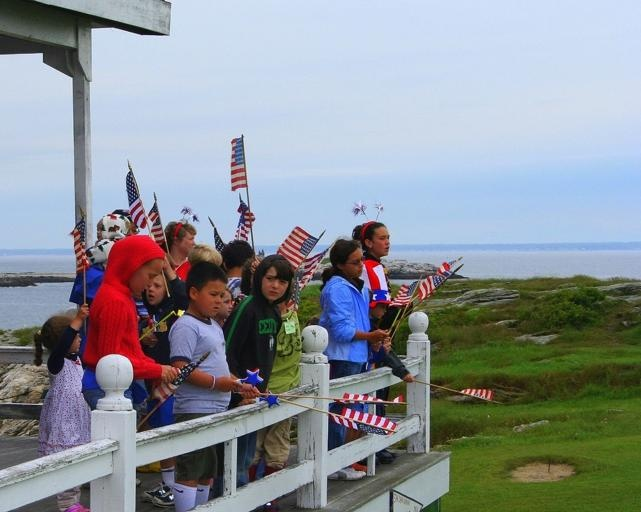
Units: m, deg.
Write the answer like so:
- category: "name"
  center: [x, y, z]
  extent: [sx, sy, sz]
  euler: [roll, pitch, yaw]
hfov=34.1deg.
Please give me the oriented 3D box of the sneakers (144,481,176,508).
- category: "sneakers"
  center: [-1.398, 2.091, 9.170]
  extent: [0.178, 0.168, 0.283]
  euler: [-3, 2, -38]

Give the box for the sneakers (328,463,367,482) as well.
- category: "sneakers"
  center: [0.262, 2.040, 9.833]
  extent: [0.408, 0.141, 0.135]
  euler: [-2, 3, -11]
